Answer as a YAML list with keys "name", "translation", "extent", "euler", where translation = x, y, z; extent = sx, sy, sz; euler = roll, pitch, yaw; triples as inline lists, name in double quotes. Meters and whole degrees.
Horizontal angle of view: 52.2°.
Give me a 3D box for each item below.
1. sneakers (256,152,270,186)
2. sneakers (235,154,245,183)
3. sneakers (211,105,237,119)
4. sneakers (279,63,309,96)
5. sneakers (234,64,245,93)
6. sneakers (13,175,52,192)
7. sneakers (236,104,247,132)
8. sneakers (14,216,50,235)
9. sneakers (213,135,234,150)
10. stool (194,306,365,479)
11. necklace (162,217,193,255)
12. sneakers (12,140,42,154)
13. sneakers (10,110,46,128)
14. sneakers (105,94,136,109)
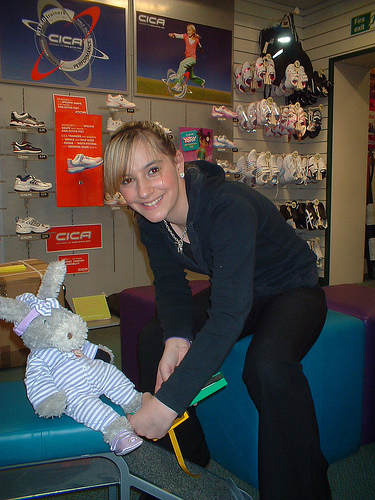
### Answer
- name: "sneakers"
  translation: [0.898, -0.968, 4.562]
  extent: [0.182, 0.355, 0.125]
  euler: [-2, 10, -32]
- name: "sneakers"
  translation: [0.650, -1.004, 4.699]
  extent: [0.104, 0.317, 0.122]
  euler: [11, 11, 41]
- name: "sneakers"
  translation: [0.406, -1.647, 4.551]
  extent: [0.340, 0.153, 0.135]
  euler: [2, 24, -7]
- name: "sneakers"
  translation: [1.309, -2.186, 4.759]
  extent: [0.285, 0.451, 0.155]
  euler: [4, 8, -18]
- name: "sneakers"
  translation: [0.636, -2.125, 4.766]
  extent: [0.110, 0.339, 0.134]
  euler: [-5, 2, 9]
- name: "sneakers"
  translation: [-1.419, -0.591, 3.494]
  extent: [0.375, 0.177, 0.143]
  euler: [-2, 19, -22]
- name: "sneakers"
  translation: [0.673, -1.611, 4.699]
  extent: [0.111, 0.315, 0.122]
  euler: [-5, 14, 14]
- name: "sneakers"
  translation: [-1.454, -0.229, 3.532]
  extent: [0.362, 0.183, 0.125]
  euler: [-5, 12, -30]
- name: "sneakers"
  translation: [0.454, -1.250, 4.597]
  extent: [0.282, 0.129, 0.134]
  euler: [7, 27, -38]
- name: "stool"
  translation: [0.398, 0.589, 1.735]
  extent: [0.658, 0.633, 0.649]
  euler: [1, -7, 44]
- name: "necklace"
  translation: [-0.046, -0.058, 1.436]
  extent: [0.041, 0.054, 0.177]
  euler: [4, 40, -35]
- name: "sneakers"
  translation: [-1.478, -0.937, 3.510]
  extent: [0.231, 0.132, 0.199]
  euler: [-5, 9, -24]
- name: "sneakers"
  translation: [-1.425, -1.152, 3.404]
  extent: [0.346, 0.165, 0.129]
  euler: [-2, 17, -27]
- name: "sneakers"
  translation: [-0.693, -1.516, 3.885]
  extent: [0.367, 0.150, 0.132]
  euler: [-9, 24, -31]
